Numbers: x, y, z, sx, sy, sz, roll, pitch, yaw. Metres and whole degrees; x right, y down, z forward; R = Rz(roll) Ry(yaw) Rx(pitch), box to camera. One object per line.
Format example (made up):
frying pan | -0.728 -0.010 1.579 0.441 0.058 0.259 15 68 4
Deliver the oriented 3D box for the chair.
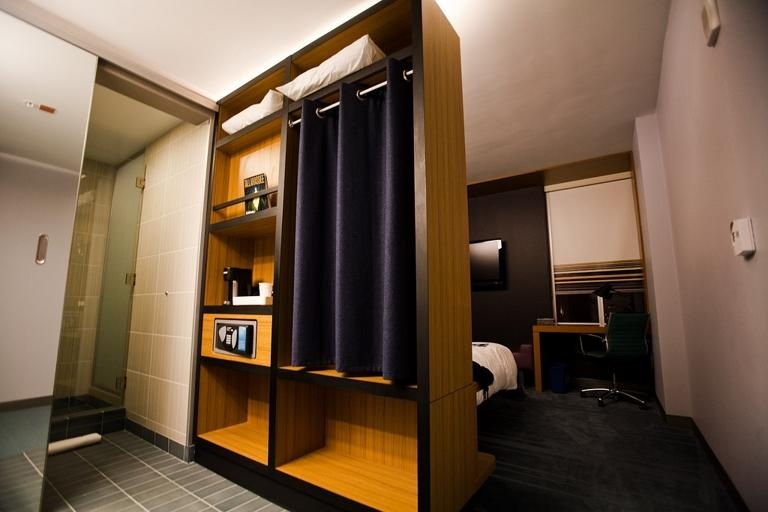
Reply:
chair | 2.987 1.304 6.399 0.723 1.279 0.962 1 9 7

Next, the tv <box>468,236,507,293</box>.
tv | 1.663 0.154 7.783 0.873 0.859 0.172 -2 -6 40

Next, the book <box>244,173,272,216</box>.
book | -1.185 -0.570 4.655 0.337 0.465 0.053 -14 -16 31
